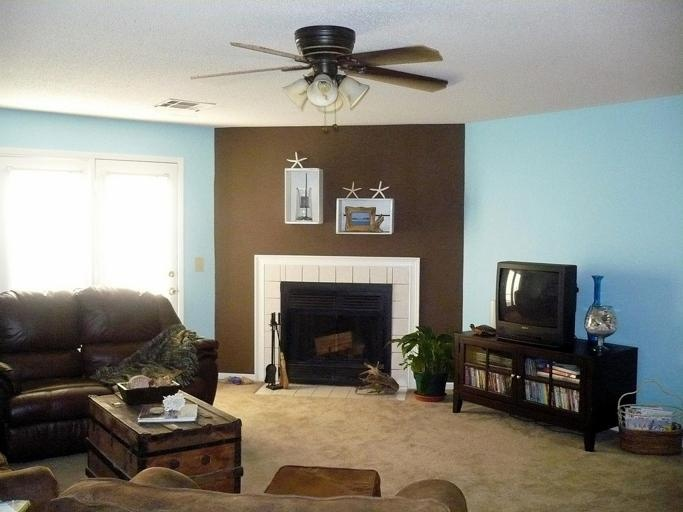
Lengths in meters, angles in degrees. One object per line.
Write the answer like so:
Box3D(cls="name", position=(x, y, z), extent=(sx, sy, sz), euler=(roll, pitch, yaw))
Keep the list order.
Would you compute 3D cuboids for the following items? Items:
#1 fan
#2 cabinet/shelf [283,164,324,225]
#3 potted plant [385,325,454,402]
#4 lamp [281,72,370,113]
Box3D(cls="fan", position=(0.030, -1.126, 3.158), extent=(0.728, 0.133, 0.700), euler=(2, -3, -22))
Box3D(cls="cabinet/shelf", position=(-0.399, -0.612, 5.870), extent=(0.402, 0.593, 0.212), euler=(1, 6, 2))
Box3D(cls="potted plant", position=(0.833, 1.012, 5.487), extent=(0.683, 0.556, 0.667), euler=(0, -2, 17))
Box3D(cls="lamp", position=(-0.085, -0.934, 3.315), extent=(0.448, 0.169, 0.397), euler=(1, 4, -6))
